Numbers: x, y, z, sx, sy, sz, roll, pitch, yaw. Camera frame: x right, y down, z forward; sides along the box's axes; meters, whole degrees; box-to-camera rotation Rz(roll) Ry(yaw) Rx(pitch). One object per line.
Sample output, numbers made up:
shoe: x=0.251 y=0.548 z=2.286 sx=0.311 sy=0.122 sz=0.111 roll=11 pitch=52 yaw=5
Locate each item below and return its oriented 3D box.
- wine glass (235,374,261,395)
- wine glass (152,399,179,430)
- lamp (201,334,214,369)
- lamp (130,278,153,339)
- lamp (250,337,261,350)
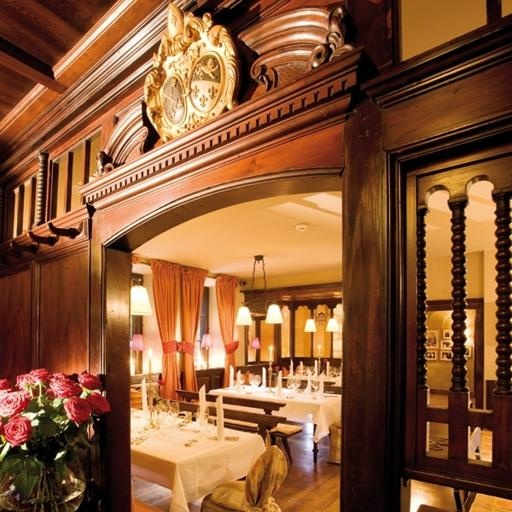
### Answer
wine glass: x=-0.126 y=1.690 z=6.353 sx=0.287 sy=0.214 sz=0.320 roll=0 pitch=-9 yaw=1
wine glass: x=-0.795 y=1.359 z=4.215 sx=0.205 sy=0.254 sz=0.225 roll=-1 pitch=-11 yaw=4
lamp: x=-0.969 y=1.828 z=9.539 sx=0.228 sy=0.674 sz=0.589 roll=0 pitch=-9 yaw=-6
lamp: x=-0.961 y=0.466 z=4.078 sx=0.183 sy=0.559 sz=0.201 roll=0 pitch=-32 yaw=-17
lamp: x=-0.010 y=1.721 z=9.709 sx=0.192 sy=0.233 sz=0.195 roll=2 pitch=-5 yaw=-40
